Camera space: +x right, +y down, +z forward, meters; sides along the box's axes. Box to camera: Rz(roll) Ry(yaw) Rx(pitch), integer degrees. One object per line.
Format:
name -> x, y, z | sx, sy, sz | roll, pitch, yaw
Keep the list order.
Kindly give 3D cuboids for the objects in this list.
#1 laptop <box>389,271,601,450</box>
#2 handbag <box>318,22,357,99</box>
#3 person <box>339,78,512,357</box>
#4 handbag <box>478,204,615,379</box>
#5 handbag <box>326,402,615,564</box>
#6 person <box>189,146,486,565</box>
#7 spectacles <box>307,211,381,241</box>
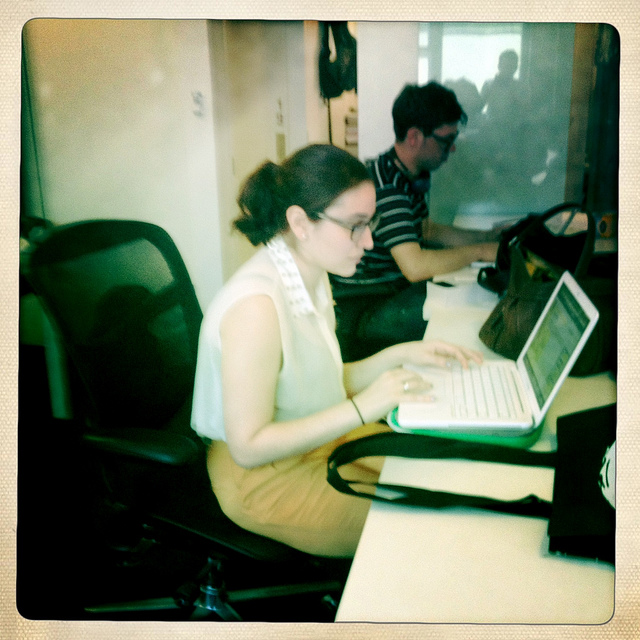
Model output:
laptop -> 0.318, 0.119, 1.232 | 0.330, 0.276, 0.359 | 5, 24, 11
handbag -> 0.036, -0.532, 1.300 | 0.079, 0.143, 0.035 | -3, 17, -2
person -> 0.243, -0.099, 1.474 | 0.383, 0.820, 0.335 | 9, 27, 20
handbag -> 0.524, -0.046, 1.399 | 0.259, 0.404, 0.235 | 13, -12, 32
handbag -> 0.277, 0.311, 1.177 | 0.487, 0.079, 0.288 | 4, 40, 1
person -> 0.025, 0.232, 1.403 | 0.587, 1.120, 0.448 | 5, 20, -1
spectacles -> 0.056, -0.193, 1.248 | 0.078, 0.028, 0.081 | 27, 20, 16
